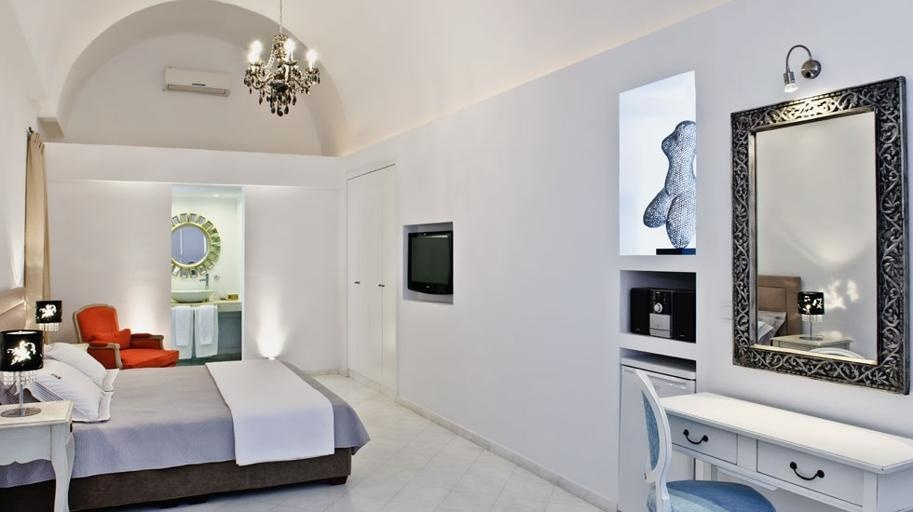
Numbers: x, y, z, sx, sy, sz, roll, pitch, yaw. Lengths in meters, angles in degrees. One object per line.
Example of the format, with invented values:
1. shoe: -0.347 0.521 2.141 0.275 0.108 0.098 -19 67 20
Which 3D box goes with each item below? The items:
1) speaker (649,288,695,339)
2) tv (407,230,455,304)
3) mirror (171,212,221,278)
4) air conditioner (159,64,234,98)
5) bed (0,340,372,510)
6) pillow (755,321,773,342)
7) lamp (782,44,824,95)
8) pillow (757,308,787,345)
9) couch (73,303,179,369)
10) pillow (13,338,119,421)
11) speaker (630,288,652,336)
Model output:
1. speaker: 1.902 0.493 4.926 0.246 0.406 0.449 -6 4 -32
2. tv: -0.311 0.146 7.230 0.695 0.626 0.075 2 0 35
3. mirror: -4.487 -0.202 9.815 1.176 1.105 0.099 3 0 -25
4. air conditioner: -4.260 -2.891 9.477 1.033 0.401 0.296 -4 10 -22
5. bed: -2.747 1.383 5.202 1.948 0.489 1.569 1 -1 -26
6. pillow: 2.330 0.568 4.341 0.052 0.122 0.188 4 -13 -6
7. lamp: 2.492 -1.380 4.160 0.232 0.312 0.148 -10 5 10
8. pillow: 2.385 0.545 4.318 0.050 0.210 0.236 13 -12 -24
9. couch: -4.448 1.118 7.819 1.131 1.191 0.921 -1 -2 12
10. pillow: -3.506 0.912 5.260 0.579 0.264 1.226 3 5 -24
11. speaker: 1.613 0.488 5.041 0.086 0.402 0.245 -8 12 -38
